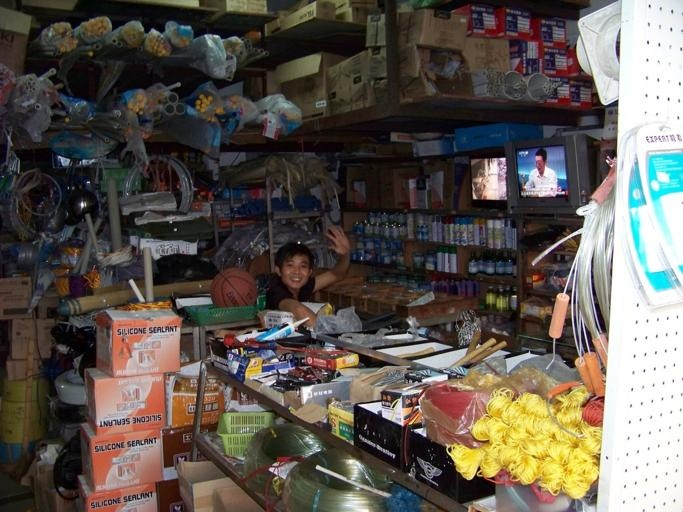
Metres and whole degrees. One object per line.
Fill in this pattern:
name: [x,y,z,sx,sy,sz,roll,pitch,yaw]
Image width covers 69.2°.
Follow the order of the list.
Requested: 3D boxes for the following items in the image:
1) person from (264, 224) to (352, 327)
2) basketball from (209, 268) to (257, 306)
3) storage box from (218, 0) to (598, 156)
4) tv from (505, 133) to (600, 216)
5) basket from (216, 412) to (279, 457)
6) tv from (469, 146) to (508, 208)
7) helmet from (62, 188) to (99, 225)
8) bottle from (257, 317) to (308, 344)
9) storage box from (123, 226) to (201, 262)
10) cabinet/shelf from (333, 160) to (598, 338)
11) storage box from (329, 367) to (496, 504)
person: [-0.278,0.126,4.192,0.670,0.760,1.730,-2,-2,5]
basketball: [-0.876,0.234,3.954,0.315,0.307,0.310,2,12,21]
storage box: [0.366,-1.524,4.492,1.899,0.633,1.996,-8,11,-40]
tv: [1.651,-0.641,4.383,0.842,0.648,0.463,-3,-1,-16]
basket: [-0.454,0.883,2.416,0.327,0.167,0.408,0,-1,-10]
tv: [1.535,-0.841,5.143,0.097,0.716,0.649,-9,8,-36]
helmet: [-2.438,-0.493,4.663,0.255,0.337,0.400,-1,-2,-26]
bottle: [-0.317,0.437,2.804,0.383,0.077,0.078,-16,34,-38]
storage box: [-1.813,-0.070,5.132,0.628,0.192,0.461,1,0,-33]
cabinet/shelf: [1.154,-0.067,4.661,0.565,1.075,2.049,-14,18,-37]
storage box: [0.235,0.592,1.585,0.141,0.189,0.505,-1,-2,-33]
